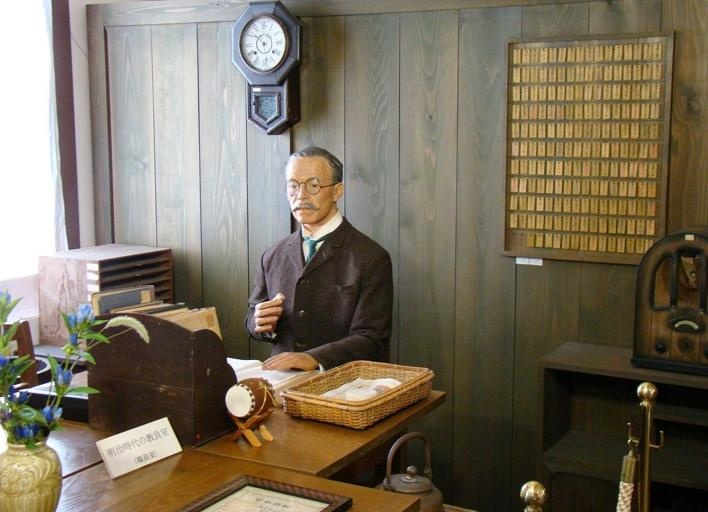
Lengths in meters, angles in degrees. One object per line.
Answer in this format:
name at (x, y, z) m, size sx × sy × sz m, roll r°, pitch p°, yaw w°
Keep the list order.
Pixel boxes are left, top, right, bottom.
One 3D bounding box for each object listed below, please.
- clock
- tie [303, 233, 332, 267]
clock at (-0.472, -1.041, 3.161) m, size 0.401 × 0.693 × 0.236 m, roll -1°, pitch 6°, yaw 2°
tie at (-0.172, -0.041, 2.740) m, size 0.100 × 0.050 × 0.143 m, roll 4°, pitch 42°, yaw 37°
